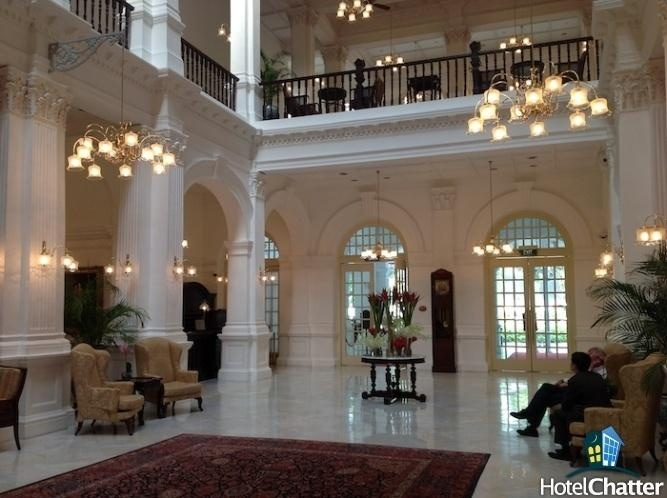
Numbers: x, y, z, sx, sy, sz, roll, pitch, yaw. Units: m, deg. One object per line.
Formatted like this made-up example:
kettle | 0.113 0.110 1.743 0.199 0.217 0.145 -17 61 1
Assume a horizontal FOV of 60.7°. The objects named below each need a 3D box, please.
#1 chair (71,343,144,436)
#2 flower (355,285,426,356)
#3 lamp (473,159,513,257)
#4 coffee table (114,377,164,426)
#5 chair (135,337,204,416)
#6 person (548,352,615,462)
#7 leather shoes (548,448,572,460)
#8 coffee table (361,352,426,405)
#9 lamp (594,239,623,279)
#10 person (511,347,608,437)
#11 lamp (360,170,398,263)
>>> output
chair | -3.461 2.122 8.725 1.089 1.309 0.672 -1 -5 5
flower | 1.129 1.424 11.076 1.004 1.312 0.580 0 -5 3
lamp | 4.230 -0.916 15.148 0.993 2.197 2.162 -2 -5 18
coffee table | -3.214 2.523 9.664 0.835 0.838 0.730 -4 -6 35
chair | -2.886 2.250 10.395 1.243 1.622 1.189 -6 -7 41
person | 3.157 2.039 7.329 0.610 1.490 0.727 -8 9 -36
leather shoes | 2.851 2.589 7.225 0.267 0.191 0.100 0 -5 32
coffee table | 1.223 2.627 11.284 1.159 0.773 1.190 -3 -10 22
lamp | 6.009 0.258 12.512 0.483 0.921 0.947 2 -3 11
person | 2.942 1.994 7.600 0.599 1.279 1.296 10 -5 -41
lamp | 1.334 -0.779 16.155 0.922 2.262 2.407 -1 -4 7
